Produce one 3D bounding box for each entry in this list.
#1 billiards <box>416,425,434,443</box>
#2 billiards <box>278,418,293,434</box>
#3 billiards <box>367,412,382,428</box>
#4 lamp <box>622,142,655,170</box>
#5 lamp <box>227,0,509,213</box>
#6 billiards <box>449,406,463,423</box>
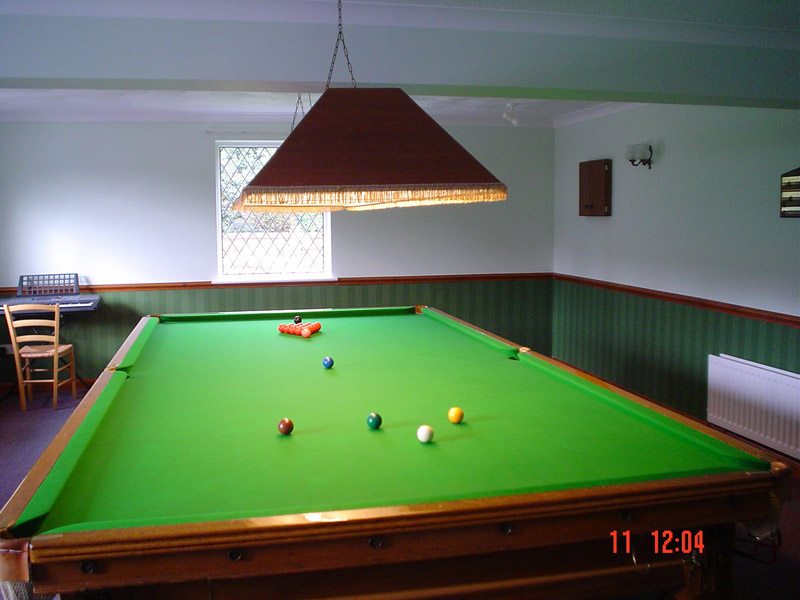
[{"bbox_3d":[0.095,0.484,2.276,0.053,0.059,0.057,9,-3,15],"label":"billiards"},{"bbox_3d":[-0.425,0.466,2.320,0.051,0.054,0.051,8,34,1],"label":"billiards"},{"bbox_3d":[-0.089,0.456,2.392,0.047,0.059,0.049,7,46,17],"label":"billiards"},{"bbox_3d":[2.124,-1.297,5.568,0.161,0.219,0.275,-5,12,-18],"label":"lamp"},{"bbox_3d":[-0.269,-0.997,3.023,1.108,1.137,1.273,-5,12,-21],"label":"lamp"},{"bbox_3d":[0.216,0.446,2.464,0.052,0.055,0.054,-16,-29,-2],"label":"billiards"}]
